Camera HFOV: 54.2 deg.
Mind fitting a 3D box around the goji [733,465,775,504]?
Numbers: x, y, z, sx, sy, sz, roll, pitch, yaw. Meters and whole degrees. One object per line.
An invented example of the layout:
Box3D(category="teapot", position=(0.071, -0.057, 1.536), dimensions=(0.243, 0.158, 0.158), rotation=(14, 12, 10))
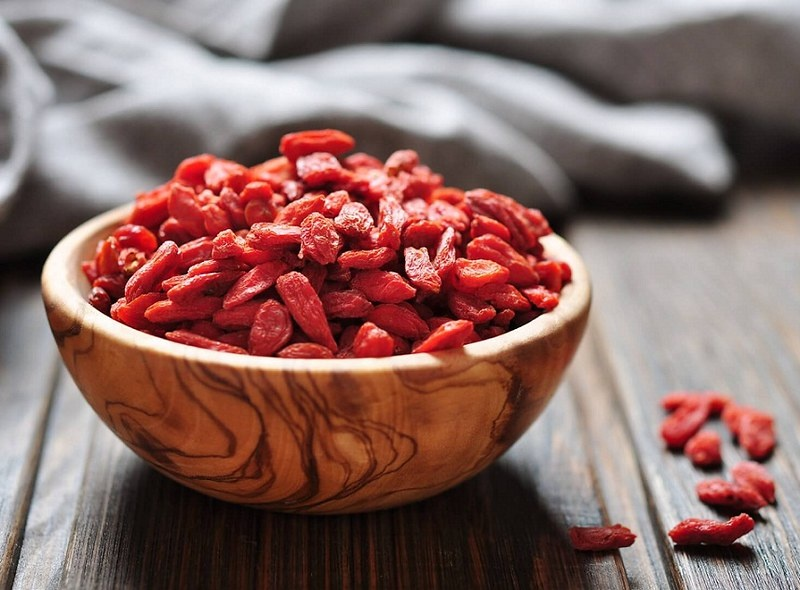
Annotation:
Box3D(category="goji", position=(0.490, 0.252, 1.078), dimensions=(0.037, 0.017, 0.055), rotation=(-6, 31, -9))

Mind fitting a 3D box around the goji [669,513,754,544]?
Box3D(category="goji", position=(0.395, 0.298, 0.989), dimensions=(0.088, 0.027, 0.046), rotation=(-14, 5, -3))

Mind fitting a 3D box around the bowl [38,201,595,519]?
Box3D(category="bowl", position=(-0.093, 0.102, 0.914), dimensions=(0.375, 0.153, 0.374), rotation=(1, 25, -1))

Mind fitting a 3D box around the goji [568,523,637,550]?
Box3D(category="goji", position=(0.253, 0.302, 0.977), dimensions=(0.054, 0.019, 0.040), rotation=(-8, 8, -2))

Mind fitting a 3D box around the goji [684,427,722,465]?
Box3D(category="goji", position=(0.437, 0.218, 1.121), dimensions=(0.040, 0.026, 0.047), rotation=(-5, 31, -2))

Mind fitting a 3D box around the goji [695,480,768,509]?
Box3D(category="goji", position=(0.444, 0.268, 1.051), dimensions=(0.072, 0.022, 0.040), rotation=(5, 67, 3))

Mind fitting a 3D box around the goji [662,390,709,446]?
Box3D(category="goji", position=(0.431, 0.172, 1.175), dimensions=(0.050, 0.035, 0.091), rotation=(17, 42, 31))
